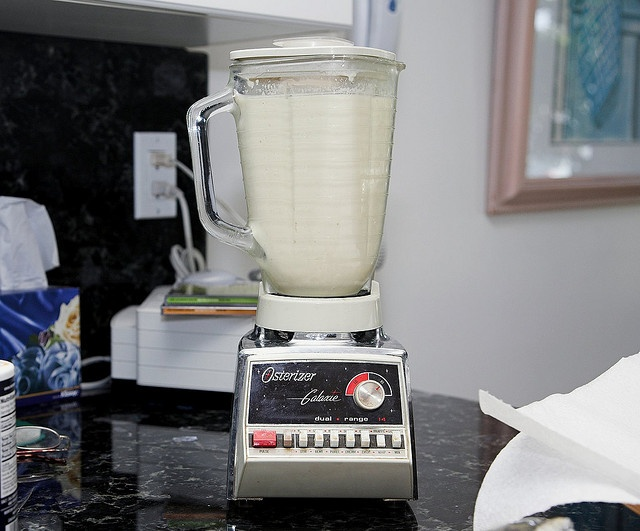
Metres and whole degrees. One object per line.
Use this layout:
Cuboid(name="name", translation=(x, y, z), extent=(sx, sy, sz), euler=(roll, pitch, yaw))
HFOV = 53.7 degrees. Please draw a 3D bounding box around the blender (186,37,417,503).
Cuboid(name="blender", translation=(-0.014, 0.017, 0.851), extent=(0.271, 0.563, 0.264), euler=(1, 6, 0))
